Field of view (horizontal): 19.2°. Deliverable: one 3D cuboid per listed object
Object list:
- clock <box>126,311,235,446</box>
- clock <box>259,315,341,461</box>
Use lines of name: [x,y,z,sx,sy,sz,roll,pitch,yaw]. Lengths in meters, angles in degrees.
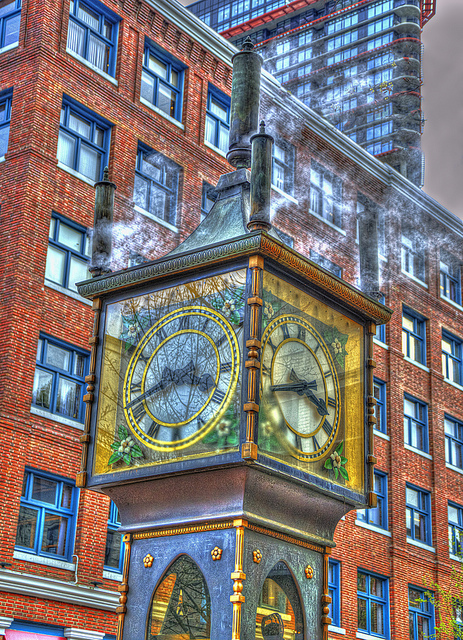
clock: [-0.605,0.790,17.852,1.807,1.880,0.121,-1,-25,33]
clock: [0.943,0.850,18.034,0.139,1.990,2.010,-9,16,-30]
